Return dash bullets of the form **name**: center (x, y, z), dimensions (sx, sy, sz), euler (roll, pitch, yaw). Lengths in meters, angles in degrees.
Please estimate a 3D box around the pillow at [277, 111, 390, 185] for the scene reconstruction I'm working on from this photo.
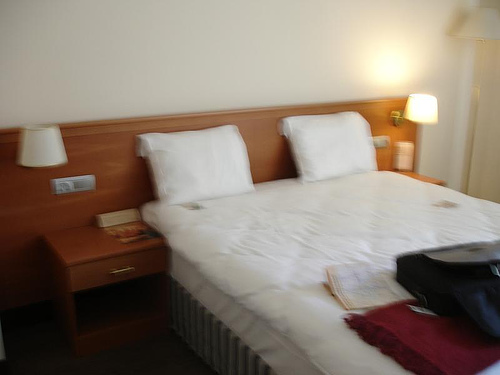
- **pillow**: center (0.635, -0.340, 3.001), dimensions (0.779, 0.643, 0.208), euler (-10, -11, -31)

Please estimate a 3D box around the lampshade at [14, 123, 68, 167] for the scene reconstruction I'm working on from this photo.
- **lampshade**: center (-1.226, -0.237, 2.136), dimensions (0.263, 0.233, 0.115), euler (-12, 16, -25)

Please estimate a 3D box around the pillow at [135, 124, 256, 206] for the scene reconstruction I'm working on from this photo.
- **pillow**: center (-0.359, -0.161, 2.533), dimensions (0.687, 0.566, 0.186), euler (-9, -13, -33)

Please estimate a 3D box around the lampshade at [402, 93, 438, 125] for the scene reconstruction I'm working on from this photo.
- **lampshade**: center (1.573, -0.752, 3.486), dimensions (0.288, 0.263, 0.282), euler (-5, 17, -18)
